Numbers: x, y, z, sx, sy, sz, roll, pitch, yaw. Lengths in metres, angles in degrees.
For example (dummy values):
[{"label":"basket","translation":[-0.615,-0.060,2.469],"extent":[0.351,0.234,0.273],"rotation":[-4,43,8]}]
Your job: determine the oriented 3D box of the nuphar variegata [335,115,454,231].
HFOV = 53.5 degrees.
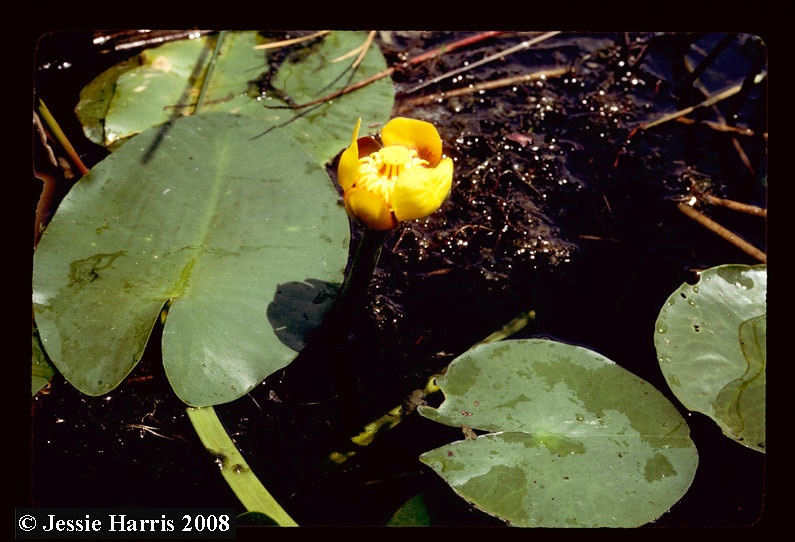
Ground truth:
[{"label":"nuphar variegata","translation":[-0.011,-0.218,1.766],"extent":[0.299,0.176,0.255],"rotation":[21,42,29]}]
